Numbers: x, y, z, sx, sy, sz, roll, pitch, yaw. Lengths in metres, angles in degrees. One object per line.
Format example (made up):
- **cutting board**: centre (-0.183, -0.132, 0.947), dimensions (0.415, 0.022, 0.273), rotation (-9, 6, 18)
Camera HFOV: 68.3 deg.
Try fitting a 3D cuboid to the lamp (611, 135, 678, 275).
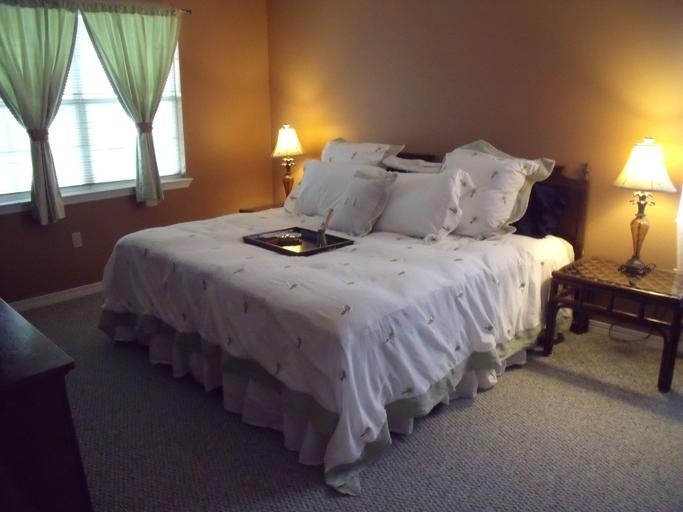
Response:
- **lamp**: centre (1.933, -0.334, 3.250), dimensions (0.320, 0.825, 0.420), rotation (15, 23, 36)
